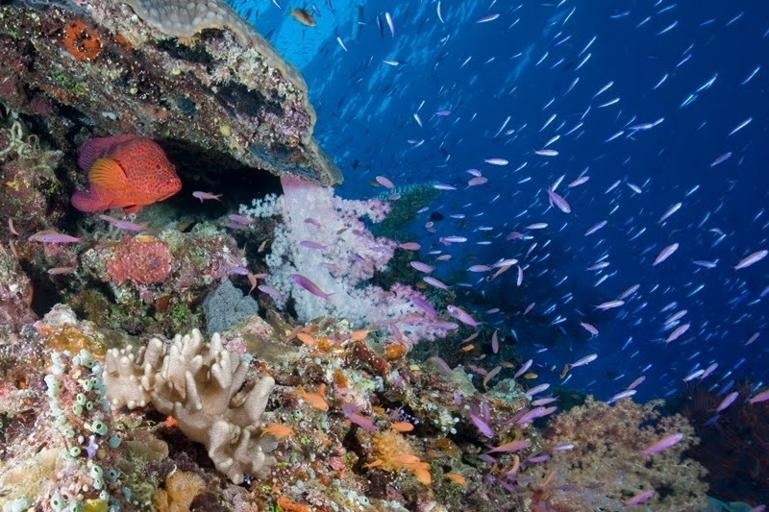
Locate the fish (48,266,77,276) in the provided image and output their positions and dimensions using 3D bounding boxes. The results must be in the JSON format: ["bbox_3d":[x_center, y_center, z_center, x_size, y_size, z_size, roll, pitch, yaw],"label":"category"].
[{"bbox_3d":[-9.851,0.456,22.055,0.551,0.148,0.366,6,30,10],"label":"fish"}]

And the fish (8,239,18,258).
[{"bbox_3d":[-11.135,-0.241,21.658,0.098,0.175,0.572,25,33,-46],"label":"fish"}]
